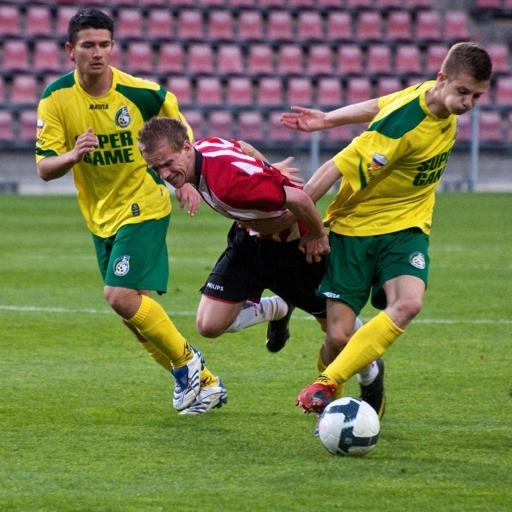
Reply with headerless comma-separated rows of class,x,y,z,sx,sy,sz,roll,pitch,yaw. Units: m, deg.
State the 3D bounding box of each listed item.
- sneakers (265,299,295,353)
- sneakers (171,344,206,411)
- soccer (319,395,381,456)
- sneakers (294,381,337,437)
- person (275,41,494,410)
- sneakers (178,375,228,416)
sneakers,0.114,0.436,5.402,0.141,0.326,0.137,20,57,6
sneakers,-0.344,0.622,4.635,0.133,0.172,0.322,-29,33,40
soccer,0.403,0.759,4.057,0.273,0.200,0.224,-2,16,2
sneakers,0.266,0.673,4.091,0.153,0.152,0.251,11,49,19
person,0.658,-0.223,4.443,0.950,1.564,1.255,-3,17,2
sneakers,-0.218,0.713,4.625,0.311,0.121,0.101,-20,13,-36
